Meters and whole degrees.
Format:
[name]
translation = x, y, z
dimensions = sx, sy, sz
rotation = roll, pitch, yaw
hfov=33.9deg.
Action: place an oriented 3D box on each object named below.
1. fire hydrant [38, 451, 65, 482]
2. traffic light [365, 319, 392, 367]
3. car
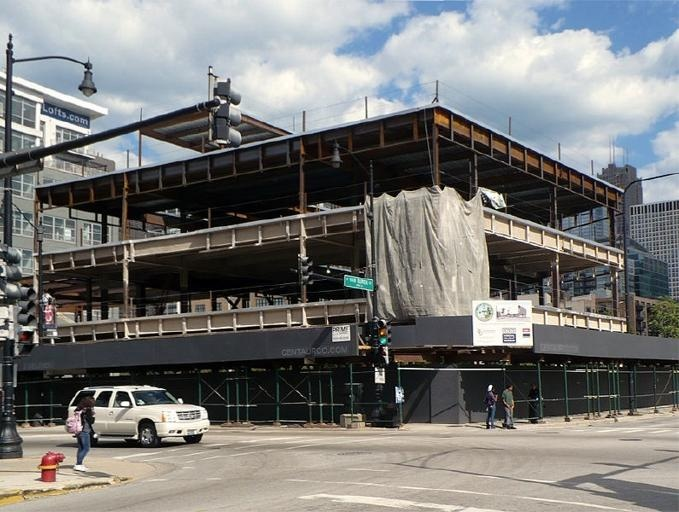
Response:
[fire hydrant]
translation = -9.987, 7.278, 38.529
dimensions = 0.740, 0.964, 1.392
rotation = -1, -9, -3
[traffic light]
translation = 1.820, 4.029, 52.168
dimensions = 1.162, 2.227, 1.267
rotation = -2, -9, 1
[car]
translation = -8.698, 6.788, 47.815
dimensions = 6.137, 2.396, 3.343
rotation = -5, -6, 36
